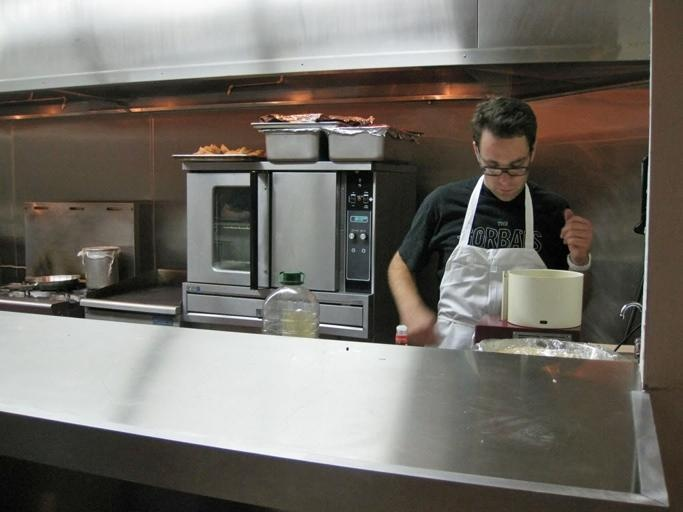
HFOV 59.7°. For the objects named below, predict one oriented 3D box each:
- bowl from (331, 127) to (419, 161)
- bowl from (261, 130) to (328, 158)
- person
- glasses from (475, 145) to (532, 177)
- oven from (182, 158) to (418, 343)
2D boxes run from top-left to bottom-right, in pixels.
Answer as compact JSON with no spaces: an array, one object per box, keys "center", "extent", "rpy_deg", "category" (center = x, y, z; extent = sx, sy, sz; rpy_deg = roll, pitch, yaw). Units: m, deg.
[{"center":[0.119,-0.441,2.358],"extent":[0.172,0.081,0.298],"rpy_deg":[3,6,15],"category":"bowl"},{"center":[-0.204,-0.442,2.421],"extent":[0.235,0.133,0.043],"rpy_deg":[6,11,23],"category":"bowl"},{"center":[0.521,-0.104,2.195],"extent":[0.753,0.913,0.379],"rpy_deg":[6,11,22],"category":"person"},{"center":[0.559,-0.320,2.060],"extent":[0.176,0.098,0.085],"rpy_deg":[5,10,18],"category":"glasses"},{"center":[-0.164,-0.013,2.736],"extent":[1.020,0.776,0.669],"rpy_deg":[2,2,34],"category":"oven"}]
